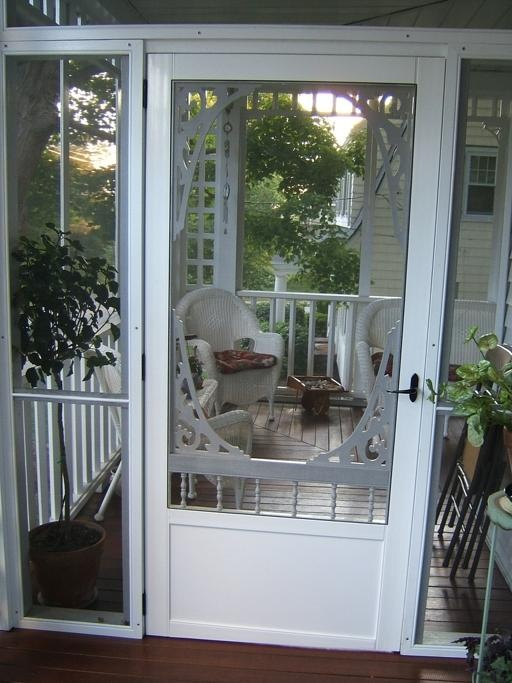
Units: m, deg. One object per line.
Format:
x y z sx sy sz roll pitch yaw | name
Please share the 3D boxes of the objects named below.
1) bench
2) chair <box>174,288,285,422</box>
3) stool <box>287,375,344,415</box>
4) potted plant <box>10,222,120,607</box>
1.117 0.083 3.881 0.681 0.901 0.792 1 3 1 | bench
-0.208 0.094 4.408 0.726 0.941 0.751 -1 8 -6 | chair
0.469 0.438 4.735 0.429 0.287 0.459 3 6 2 | stool
-0.682 0.305 2.183 0.374 1.433 0.287 2 6 -5 | potted plant
